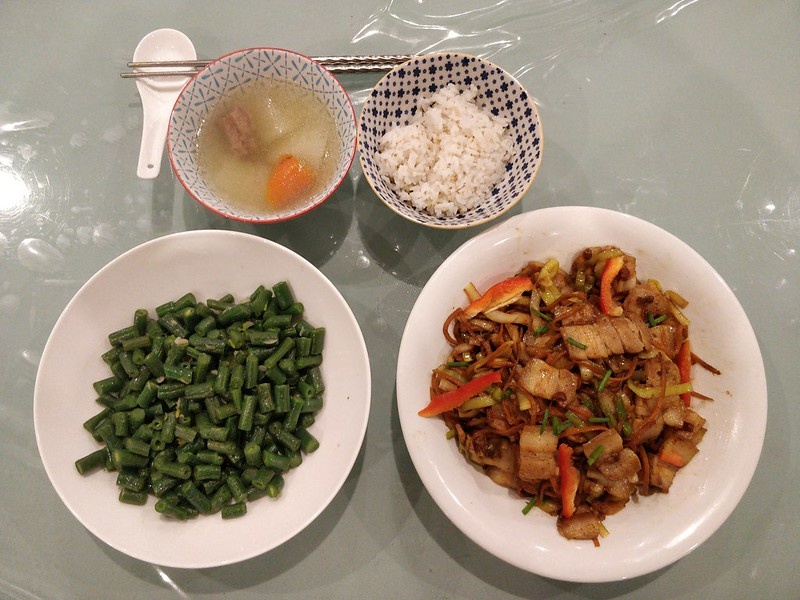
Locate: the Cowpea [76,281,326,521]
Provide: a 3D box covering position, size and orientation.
[{"bbox_3d":[-0.943,0.488,3.557,1.151,0.238,1.104,-2,77,4],"label":"Cowpea"}]

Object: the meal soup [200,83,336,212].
[{"bbox_3d":[-0.656,-0.778,3.727,0.614,0.168,0.687,8,87,-3],"label":"meal soup"}]

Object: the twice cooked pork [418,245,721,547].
[{"bbox_3d":[0.693,0.298,3.915,1.537,1.318,1.244,-3,29,-13],"label":"twice cooked pork"}]

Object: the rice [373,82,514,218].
[{"bbox_3d":[0.234,-0.713,3.761,0.675,0.216,0.587,-45,90,-1],"label":"rice"}]

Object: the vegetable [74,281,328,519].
[{"bbox_3d":[-0.896,0.461,3.690,1.045,0.351,1.177,-6,76,-3],"label":"vegetable"}]
